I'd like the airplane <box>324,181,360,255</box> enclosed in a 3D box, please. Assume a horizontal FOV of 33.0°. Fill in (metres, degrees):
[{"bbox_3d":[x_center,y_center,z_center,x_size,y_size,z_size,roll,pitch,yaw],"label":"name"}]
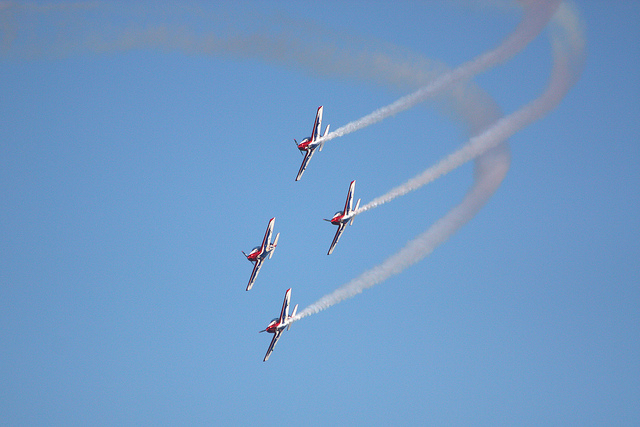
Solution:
[{"bbox_3d":[1.277,0.090,60.411,2.545,3.200,1.544,-31,-51,19],"label":"airplane"}]
